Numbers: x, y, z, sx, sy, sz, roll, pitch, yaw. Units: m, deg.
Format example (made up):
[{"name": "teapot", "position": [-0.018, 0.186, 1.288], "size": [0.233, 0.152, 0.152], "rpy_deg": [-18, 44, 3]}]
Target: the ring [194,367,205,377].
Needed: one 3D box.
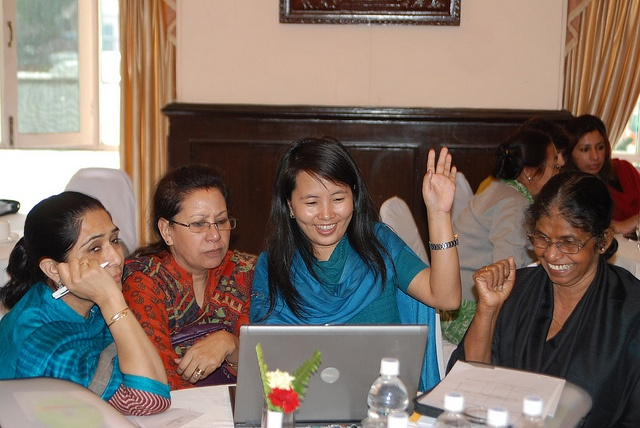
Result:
[{"name": "ring", "position": [-0.531, 0.687, 2.395], "size": [0.032, 0.025, 0.032], "rpy_deg": [-16, -14, -4]}]

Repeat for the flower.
[{"name": "flower", "position": [-0.109, 0.578, 1.877], "size": [0.224, 0.247, 0.177], "rpy_deg": [0, 13, -2]}]

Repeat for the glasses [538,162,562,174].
[{"name": "glasses", "position": [1.422, -0.289, 3.365], "size": [0.087, 0.031, 0.094], "rpy_deg": [-1, -6, -6]}]
